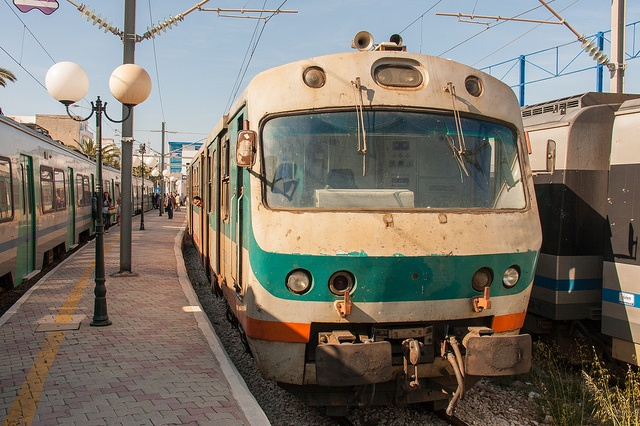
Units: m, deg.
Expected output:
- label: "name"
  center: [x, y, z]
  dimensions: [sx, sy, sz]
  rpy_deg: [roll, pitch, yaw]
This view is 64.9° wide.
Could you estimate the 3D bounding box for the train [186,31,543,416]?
- label: "train"
  center: [0.856, 0.114, 6.938]
  dimensions: [4.265, 5.161, 2.080]
  rpy_deg: [1, 7, -5]
